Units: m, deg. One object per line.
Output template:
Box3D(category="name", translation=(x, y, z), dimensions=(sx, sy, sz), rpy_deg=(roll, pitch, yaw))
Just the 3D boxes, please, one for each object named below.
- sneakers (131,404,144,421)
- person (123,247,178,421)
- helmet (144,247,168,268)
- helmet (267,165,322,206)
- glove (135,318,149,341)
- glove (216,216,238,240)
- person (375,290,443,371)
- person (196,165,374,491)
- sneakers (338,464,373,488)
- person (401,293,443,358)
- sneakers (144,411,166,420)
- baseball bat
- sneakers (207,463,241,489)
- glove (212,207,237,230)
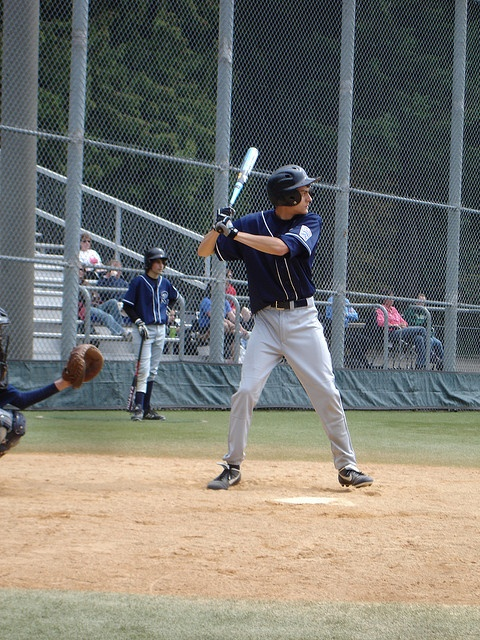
Box3D(category="sneakers", translation=(-0.938, 0.877, 8.253), dimensions=(0.103, 0.143, 0.215), rpy_deg=(2, -4, -4))
Box3D(category="person", translation=(-0.886, 0.140, 8.588), dimensions=(0.385, 1.660, 0.794), rpy_deg=(1, -4, 14))
Box3D(category="helmet", translation=(-0.797, -0.607, 8.635), dimensions=(0.177, 0.167, 0.212), rpy_deg=(0, 2, -38))
Box3D(category="helmet", translation=(0.301, -0.726, 4.795), dimensions=(0.259, 0.188, 0.195), rpy_deg=(4, 10, 11))
Box3D(category="glove", translation=(-0.894, 0.096, 8.347), dimensions=(0.053, 0.189, 0.117), rpy_deg=(-24, -16, 34))
Box3D(category="glove", translation=(-0.065, -0.459, 4.501), dimensions=(0.077, 0.065, 0.136), rpy_deg=(-27, 33, -8))
Box3D(category="person", translation=(2.163, 0.139, 11.544), dimensions=(0.614, 1.017, 0.464), rpy_deg=(-9, -4, 34))
Box3D(category="person", translation=(0.247, 0.022, 4.767), dimensions=(0.939, 1.776, 0.639), rpy_deg=(3, -4, -9))
Box3D(category="sneakers", translation=(0.612, 0.852, 4.850), dimensions=(0.237, 0.114, 0.081), rpy_deg=(-14, 18, 47))
Box3D(category="person", translation=(2.391, 0.167, 11.499), dimensions=(0.389, 0.886, 0.538), rpy_deg=(7, 3, -31))
Box3D(category="sneakers", translation=(-0.774, 0.911, 8.416), dimensions=(0.237, 0.095, 0.077), rpy_deg=(1, 1, 7))
Box3D(category="baseball bat", translation=(-0.001, -0.746, 5.223), dimensions=(0.156, 0.109, 0.924), rpy_deg=(-36, 17, 34))
Box3D(category="sneakers", translation=(-0.065, 0.838, 4.740), dimensions=(0.084, 0.120, 0.243), rpy_deg=(5, -1, 37))
Box3D(category="glove", translation=(-0.070, -0.524, 4.614), dimensions=(0.099, 0.139, 0.060), rpy_deg=(-8, -43, -3))
